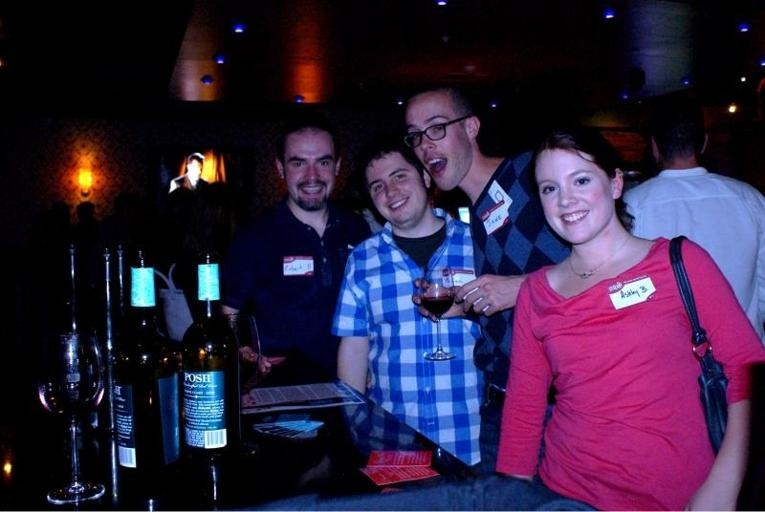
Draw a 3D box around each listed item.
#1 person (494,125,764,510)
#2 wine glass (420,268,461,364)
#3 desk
[{"bbox_3d":[1.046,0.244,2.786,1.115,1.686,0.338,-5,-2,26],"label":"person"},{"bbox_3d":[0.300,0.324,3.367,0.188,0.443,0.255,-5,-2,2],"label":"wine glass"},{"bbox_3d":[-0.072,0.780,2.572,0.631,0.331,0.677,-3,-2,-26],"label":"desk"}]
